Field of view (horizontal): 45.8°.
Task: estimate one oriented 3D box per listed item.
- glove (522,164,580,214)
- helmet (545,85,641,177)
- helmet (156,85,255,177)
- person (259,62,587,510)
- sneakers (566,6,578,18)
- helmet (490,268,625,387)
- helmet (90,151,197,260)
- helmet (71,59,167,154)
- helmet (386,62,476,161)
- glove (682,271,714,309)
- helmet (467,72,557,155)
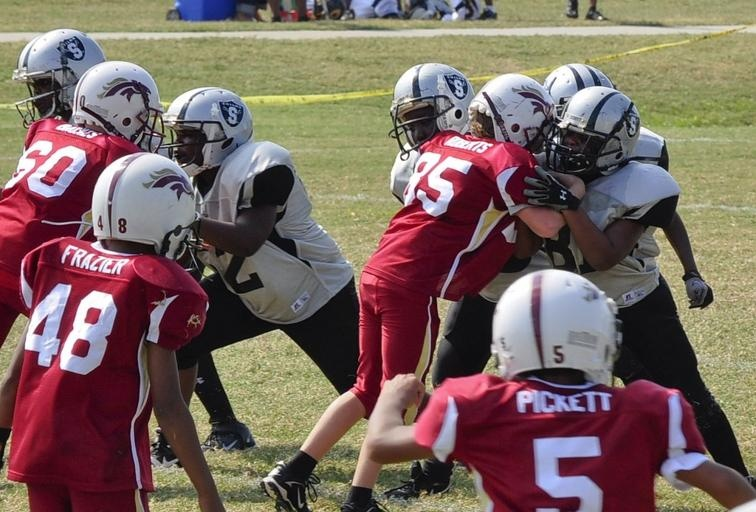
[{"bbox_3d":[0.884,-0.334,4.455,0.276,0.186,0.080,28,-28,-18],"label":"glove"},{"bbox_3d":[1.146,-0.714,4.996,0.588,0.421,0.406,-11,31,-25],"label":"helmet"},{"bbox_3d":[-1.052,-0.751,5.219,0.575,0.469,0.472,-3,9,-27],"label":"helmet"},{"bbox_3d":[0.337,0.205,4.805,1.180,2.363,1.389,10,17,23],"label":"person"},{"bbox_3d":[4.678,-5.846,21.582,0.172,0.209,0.318,-1,3,-4],"label":"sneakers"},{"bbox_3d":[0.679,0.260,3.665,0.532,0.398,0.386,-8,12,-11],"label":"helmet"},{"bbox_3d":[-1.043,-0.243,4.134,0.439,0.419,0.499,10,16,30],"label":"helmet"},{"bbox_3d":[-1.546,-0.894,5.294,0.629,0.518,0.448,-7,18,-32],"label":"helmet"},{"bbox_3d":[0.196,-0.836,5.228,0.572,0.523,0.432,0,-14,-30],"label":"helmet"},{"bbox_3d":[1.949,0.179,5.366,0.100,0.208,0.215,-22,7,-15],"label":"glove"},{"bbox_3d":[0.692,-0.766,4.886,0.487,0.371,0.363,9,33,-13],"label":"helmet"}]
